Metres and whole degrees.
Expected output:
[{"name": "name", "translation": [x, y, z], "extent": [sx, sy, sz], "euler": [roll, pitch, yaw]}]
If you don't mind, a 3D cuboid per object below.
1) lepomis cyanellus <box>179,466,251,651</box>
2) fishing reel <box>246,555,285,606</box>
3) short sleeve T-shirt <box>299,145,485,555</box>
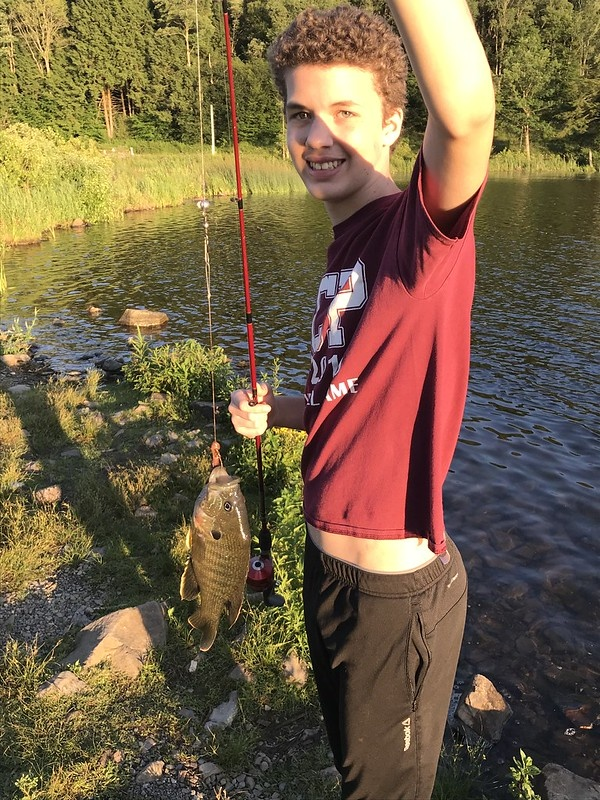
[{"name": "lepomis cyanellus", "translation": [-0.346, 0.678, 2.836], "extent": [0.309, 0.791, 0.173], "euler": [19, 20, 22]}, {"name": "fishing reel", "translation": [-0.156, 0.832, 3.058], "extent": [0.131, 0.100, 0.242], "euler": [-4, 17, -32]}, {"name": "short sleeve T-shirt", "translation": [0.239, -0.082, 1.787], "extent": [0.407, 1.037, 0.727], "euler": [-9, 17, -20]}]
